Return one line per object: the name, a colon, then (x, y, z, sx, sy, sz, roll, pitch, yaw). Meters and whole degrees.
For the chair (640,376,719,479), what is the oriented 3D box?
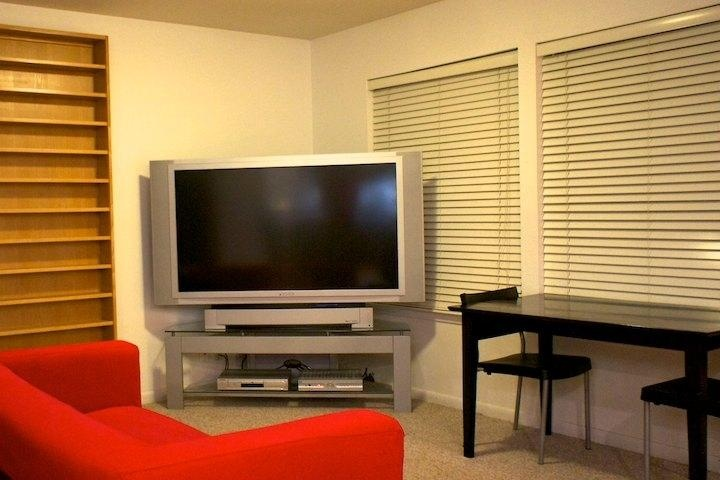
chair: (1.858, 1.072, 3.374, 0.371, 0.770, 0.567, 4, 11, 33)
